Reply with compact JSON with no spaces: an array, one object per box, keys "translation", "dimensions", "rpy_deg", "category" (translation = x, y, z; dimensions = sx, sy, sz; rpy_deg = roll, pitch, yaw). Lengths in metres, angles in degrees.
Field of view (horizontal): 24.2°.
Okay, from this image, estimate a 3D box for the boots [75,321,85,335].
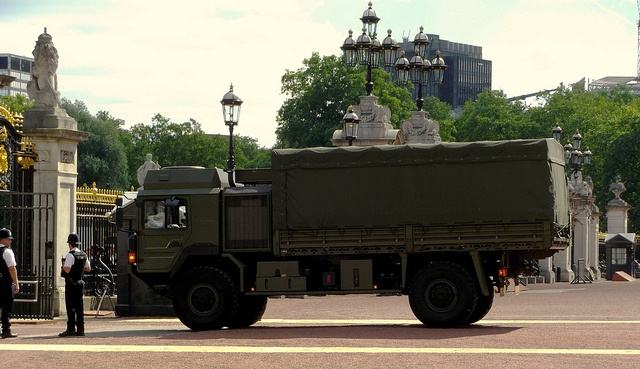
[{"translation":[-9.116,5.429,56.621],"dimensions":[0.315,0.535,0.320],"rpy_deg":[1,-3,-9],"category":"boots"}]
